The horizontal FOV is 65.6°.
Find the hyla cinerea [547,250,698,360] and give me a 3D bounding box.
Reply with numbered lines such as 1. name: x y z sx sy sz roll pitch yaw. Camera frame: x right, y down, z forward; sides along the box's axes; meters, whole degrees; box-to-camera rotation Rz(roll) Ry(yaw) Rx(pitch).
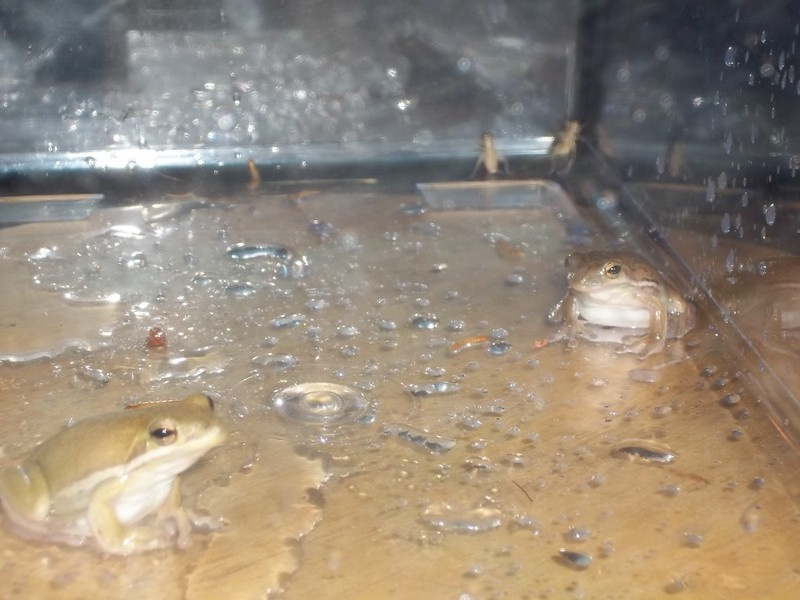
1. hyla cinerea: 0.527 0.023 1.359 0.305 0.152 0.313 3 -9 -22
